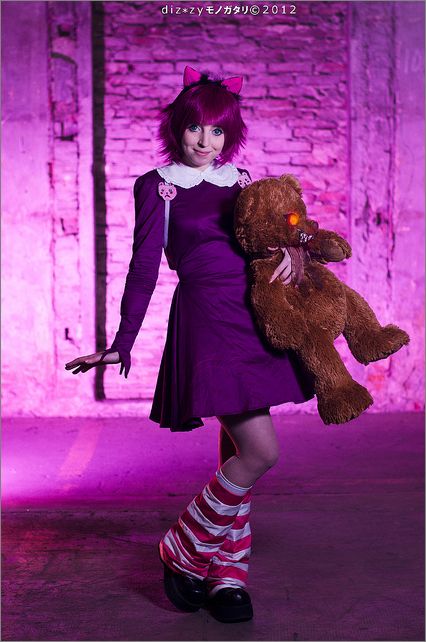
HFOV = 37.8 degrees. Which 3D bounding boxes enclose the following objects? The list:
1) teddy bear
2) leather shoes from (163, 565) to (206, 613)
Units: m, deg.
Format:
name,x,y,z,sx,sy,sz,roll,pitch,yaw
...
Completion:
name,x,y,z,sx,sy,sz,roll,pitch,yaw
teddy bear,0.304,-0.062,1.830,0.363,0.704,0.463,2,4,32
leather shoes,-0.089,0.822,1.910,0.095,0.154,0.066,9,32,22
